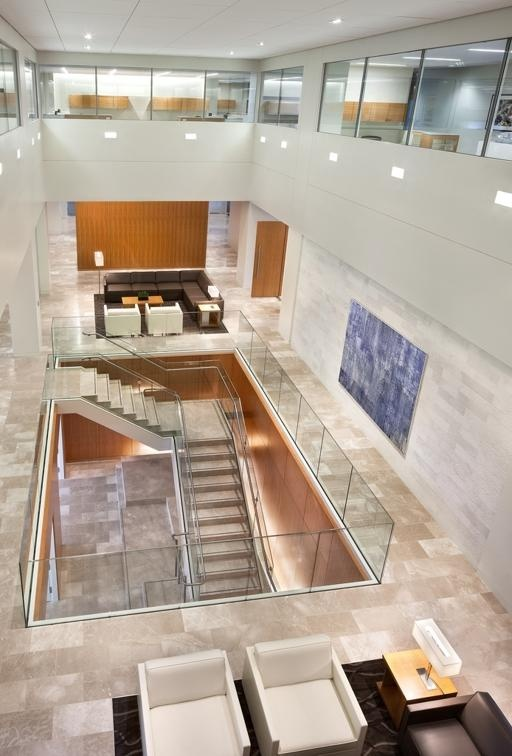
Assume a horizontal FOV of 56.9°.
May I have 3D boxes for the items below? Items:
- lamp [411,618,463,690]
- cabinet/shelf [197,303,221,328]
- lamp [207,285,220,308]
[{"bbox_3d":[1.442,2.334,3.904,0.142,0.401,0.441,2,16,-13],"label":"lamp"},{"bbox_3d":[-1.423,-1.894,14.236,0.709,0.742,0.732,0,36,-3],"label":"cabinet/shelf"},{"bbox_3d":[-1.405,-2.588,15.119,0.289,0.397,1.045,-8,48,-14],"label":"lamp"}]
